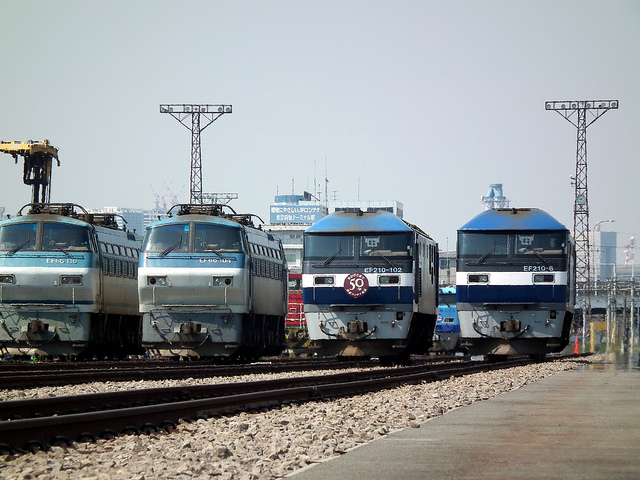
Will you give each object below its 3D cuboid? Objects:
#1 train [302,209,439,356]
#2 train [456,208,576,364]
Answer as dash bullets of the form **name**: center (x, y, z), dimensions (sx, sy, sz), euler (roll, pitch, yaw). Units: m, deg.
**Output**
- **train**: center (1.775, 1.526, 27.049), dimensions (4.990, 2.690, 5.081), euler (-1, -2, 19)
- **train**: center (8.506, 1.950, 33.251), dimensions (4.077, 5.817, 10.841), euler (-1, -6, 20)
